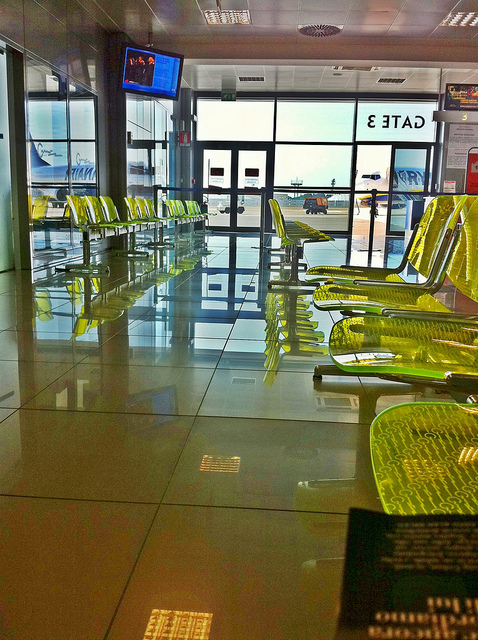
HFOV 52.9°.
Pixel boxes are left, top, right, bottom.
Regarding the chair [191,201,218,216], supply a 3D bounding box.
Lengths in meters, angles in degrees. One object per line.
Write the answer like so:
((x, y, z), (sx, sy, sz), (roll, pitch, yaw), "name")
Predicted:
((-0.877, -2.740, 12.291), (0.660, 0.389, 0.632), (1, 21, 0), "chair")

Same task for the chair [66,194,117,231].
((-1.704, -1.243, 5.643), (0.649, 0.423, 0.424), (8, 25, -9), "chair")

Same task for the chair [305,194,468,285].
((0.658, -0.383, 2.338), (0.700, 0.431, 0.666), (5, 14, 11), "chair")
